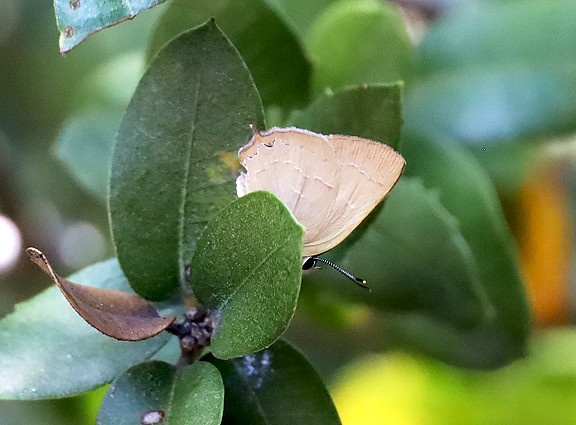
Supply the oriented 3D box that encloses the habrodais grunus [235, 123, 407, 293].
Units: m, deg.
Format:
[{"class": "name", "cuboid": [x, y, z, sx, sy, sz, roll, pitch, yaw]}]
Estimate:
[{"class": "habrodais grunus", "cuboid": [0.033, 0.001, 0.676, 0.093, 0.140, 0.159, -2, 91, -38]}]
